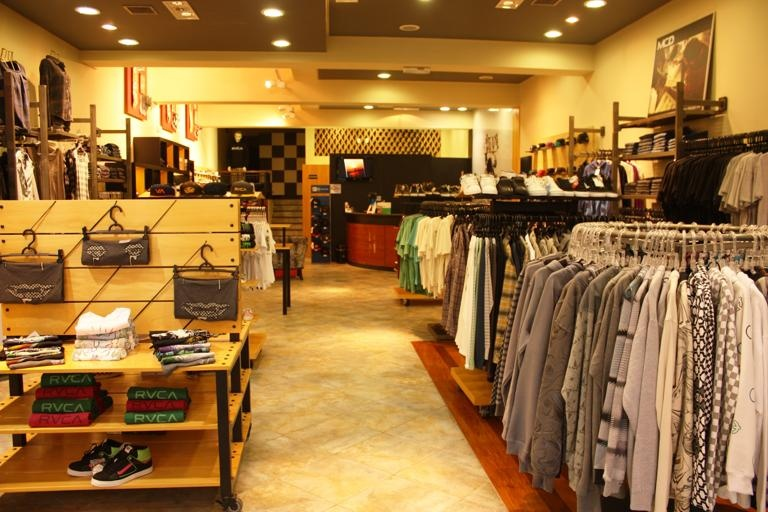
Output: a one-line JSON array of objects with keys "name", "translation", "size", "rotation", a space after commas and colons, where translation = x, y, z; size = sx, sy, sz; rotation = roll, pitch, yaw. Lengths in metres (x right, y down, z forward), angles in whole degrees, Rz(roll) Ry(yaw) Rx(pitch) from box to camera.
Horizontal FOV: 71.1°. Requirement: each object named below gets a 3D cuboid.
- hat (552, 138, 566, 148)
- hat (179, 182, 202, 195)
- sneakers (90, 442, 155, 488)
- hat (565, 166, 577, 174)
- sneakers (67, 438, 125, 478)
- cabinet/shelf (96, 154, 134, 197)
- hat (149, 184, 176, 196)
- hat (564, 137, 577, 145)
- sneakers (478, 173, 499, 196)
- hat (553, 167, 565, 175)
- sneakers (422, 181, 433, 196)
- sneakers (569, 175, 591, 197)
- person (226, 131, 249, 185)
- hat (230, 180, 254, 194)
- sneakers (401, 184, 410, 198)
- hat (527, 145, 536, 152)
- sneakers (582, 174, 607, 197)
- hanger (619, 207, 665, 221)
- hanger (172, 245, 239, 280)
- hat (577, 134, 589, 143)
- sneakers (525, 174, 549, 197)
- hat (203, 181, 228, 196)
[{"name": "hat", "translation": [3.107, -2.025, 9.490], "size": [0.154, 0.125, 0.336], "rotation": [0, 9, -2]}, {"name": "hat", "translation": [-2.217, -0.771, 6.169], "size": [0.204, 0.130, 0.201], "rotation": [0, -1, -6]}, {"name": "sneakers", "translation": [-1.543, 1.261, 3.197], "size": [0.279, 0.149, 0.256], "rotation": [2, 9, 11]}, {"name": "hat", "translation": [3.208, -1.472, 9.153], "size": [0.143, 0.145, 0.753], "rotation": [4, 9, 20]}, {"name": "sneakers", "translation": [-1.727, 1.238, 3.266], "size": [0.356, 0.147, 0.127], "rotation": [-10, -3, -10]}, {"name": "cabinet/shelf", "translation": [-4.331, -1.272, 8.594], "size": [0.447, 0.661, 1.362], "rotation": [-1, 9, -12]}, {"name": "hat", "translation": [-2.503, -0.742, 6.059], "size": [0.210, 0.095, 0.220], "rotation": [1, 2, -6]}, {"name": "hat", "translation": [3.117, -1.954, 9.007], "size": [0.208, 0.077, 0.199], "rotation": [-1, 3, 23]}, {"name": "sneakers", "translation": [0.957, -0.668, 4.962], "size": [0.163, 0.165, 0.490], "rotation": [2, 9, 10]}, {"name": "hat", "translation": [3.060, -1.487, 9.336], "size": [0.242, 0.145, 0.150], "rotation": [8, 11, 39]}, {"name": "sneakers", "translation": [0.729, -1.120, 8.793], "size": [0.157, 0.207, 0.465], "rotation": [-1, 3, -2]}, {"name": "sneakers", "translation": [1.787, -0.640, 4.929], "size": [0.186, 0.182, 0.440], "rotation": [3, 9, 19]}, {"name": "person", "translation": [-4.265, -2.637, 15.764], "size": [0.606, 2.065, 0.375], "rotation": [-1, 4, -4]}, {"name": "hat", "translation": [-1.894, -0.922, 7.240], "size": [0.249, 0.159, 0.253], "rotation": [0, 3, -12]}, {"name": "sneakers", "translation": [0.433, -1.305, 10.612], "size": [0.138, 0.163, 0.413], "rotation": [-2, -1, 0]}, {"name": "hat", "translation": [2.914, -2.142, 10.555], "size": [0.091, 0.067, 0.147], "rotation": [-3, -2, -8]}, {"name": "sneakers", "translation": [1.948, -0.655, 4.974], "size": [0.240, 0.242, 0.079], "rotation": [-3, -13, -3]}, {"name": "hanger", "translation": [3.237, -0.541, 6.800], "size": [0.395, 0.140, 1.109], "rotation": [4, 9, 18]}, {"name": "hanger", "translation": [-1.148, 0.047, 3.503], "size": [0.390, 0.226, 0.220], "rotation": [1, -1, -21]}, {"name": "hat", "translation": [3.289, -1.973, 8.928], "size": [0.122, 0.131, 0.165], "rotation": [-3, 3, -11]}, {"name": "sneakers", "translation": [1.362, -0.641, 4.846], "size": [0.203, 0.171, 0.335], "rotation": [3, 9, 14]}, {"name": "hat", "translation": [-1.848, -0.741, 5.896], "size": [0.234, 0.157, 0.343], "rotation": [-3, 9, -20]}]
